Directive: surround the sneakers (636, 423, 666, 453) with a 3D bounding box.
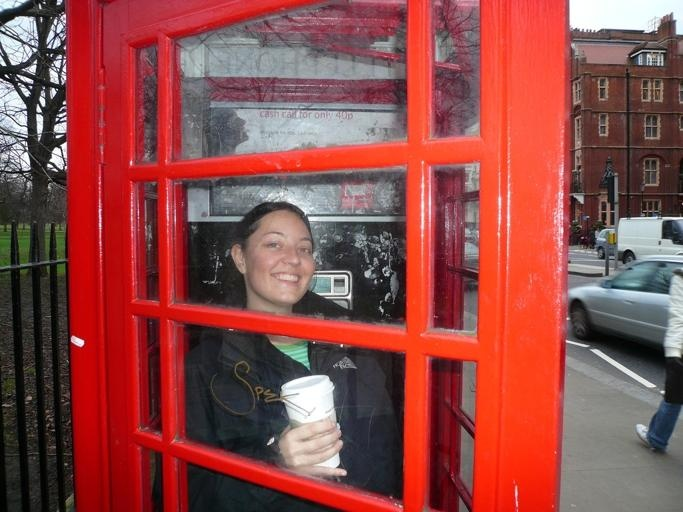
[{"bbox_3d":[2.422,1.435,5.189,0.073,0.097,0.223,-16,26,-6],"label":"sneakers"}]

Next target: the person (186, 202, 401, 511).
[{"bbox_3d":[-0.158,0.366,2.323,0.783,1.100,0.303,1,6,14],"label":"person"}]

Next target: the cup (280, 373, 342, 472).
[{"bbox_3d":[-0.108,0.488,2.263,0.197,0.164,0.133,-1,6,-12],"label":"cup"}]

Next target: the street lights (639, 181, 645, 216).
[{"bbox_3d":[18.783,-3.597,41.276,0.338,2.044,0.636,3,6,25],"label":"street lights"}]
